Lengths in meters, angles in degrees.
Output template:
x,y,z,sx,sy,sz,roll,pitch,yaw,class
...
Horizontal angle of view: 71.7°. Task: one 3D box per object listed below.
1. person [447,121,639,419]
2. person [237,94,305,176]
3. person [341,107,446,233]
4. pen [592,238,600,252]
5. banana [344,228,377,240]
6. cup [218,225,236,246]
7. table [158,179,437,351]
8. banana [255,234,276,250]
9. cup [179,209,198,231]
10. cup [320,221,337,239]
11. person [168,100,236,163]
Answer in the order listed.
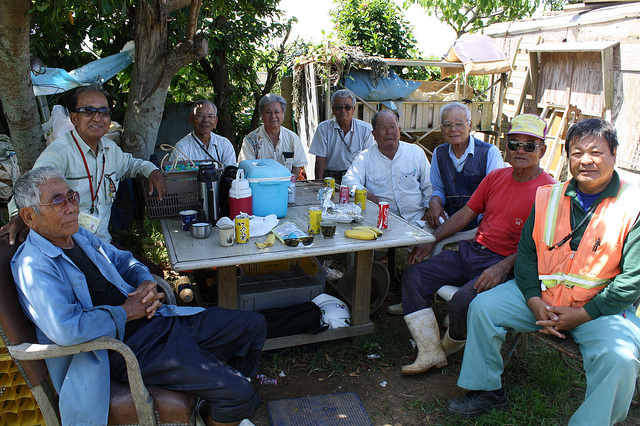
x,y,z,sx,sy,sz,roll,pitch,yaw,class
1.944,0.489,3.622,1.224,2.435,0.921,5,14,25,person
-0.725,-1.144,6.548,0.952,1.159,0.379,-2,13,-4,person
0.831,-0.415,5.413,1.212,1.571,0.981,-9,15,3,person
2.214,0.260,3.589,0.023,0.112,0.029,26,8,-3,pen
0.374,0.196,4.100,0.216,0.063,0.119,4,13,2,banana
-0.819,0.196,3.919,0.167,0.166,0.155,2,12,0,cup
-0.307,0.614,4.521,2.381,1.466,1.439,-5,13,-20,table
-0.480,0.264,3.893,0.069,0.082,0.194,25,16,29,banana
-1.198,0.063,4.111,0.184,0.163,0.173,1,0,0,cup
0.070,0.155,4.062,0.139,0.108,0.140,1,6,0,cup
-1.592,-1.081,6.106,0.900,0.854,0.532,-1,8,-24,person
